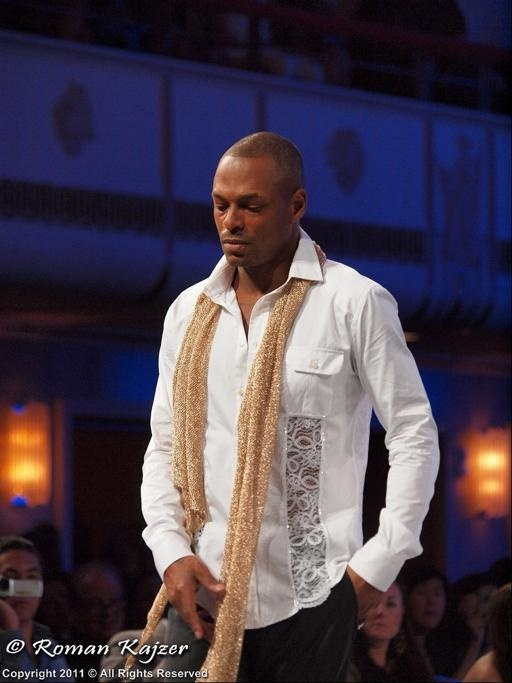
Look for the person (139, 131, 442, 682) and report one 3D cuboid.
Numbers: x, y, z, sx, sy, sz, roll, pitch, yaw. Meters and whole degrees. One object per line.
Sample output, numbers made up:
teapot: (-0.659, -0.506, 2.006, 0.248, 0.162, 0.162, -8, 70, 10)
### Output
person: (0.056, 0.157, 2.744, 0.800, 1.436, 0.349, -3, -10, 6)
